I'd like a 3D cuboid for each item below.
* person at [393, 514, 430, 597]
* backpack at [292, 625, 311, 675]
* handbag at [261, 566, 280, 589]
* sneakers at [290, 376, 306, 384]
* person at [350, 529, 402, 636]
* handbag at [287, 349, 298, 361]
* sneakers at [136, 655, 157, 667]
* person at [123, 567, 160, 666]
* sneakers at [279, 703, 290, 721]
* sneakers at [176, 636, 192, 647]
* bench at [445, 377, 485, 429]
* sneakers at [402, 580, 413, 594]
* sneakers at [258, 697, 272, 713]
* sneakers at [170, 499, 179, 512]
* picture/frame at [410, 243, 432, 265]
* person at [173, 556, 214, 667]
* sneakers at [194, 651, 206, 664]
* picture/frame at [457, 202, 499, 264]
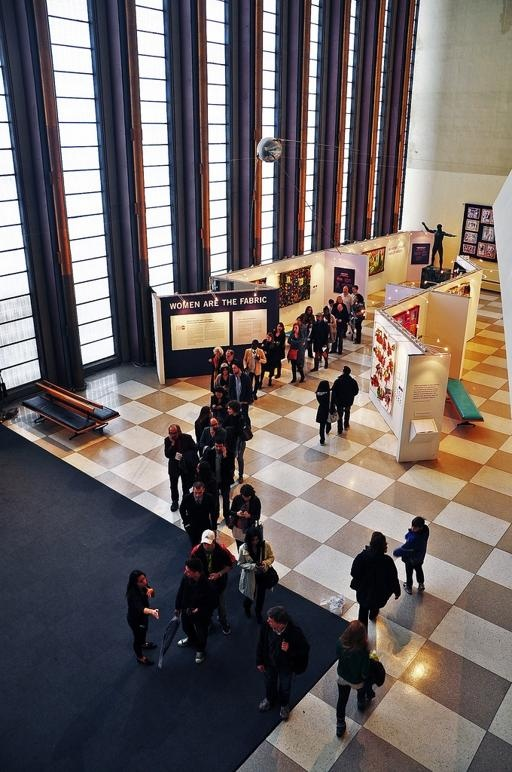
[{"bbox_3d":[1.687,1.774,5.255,0.407,1.014,0.301,-18,30,-19],"label":"person"},{"bbox_3d":[0.314,1.885,3.461,0.104,0.503,0.204,0,13,3],"label":"backpack"},{"bbox_3d":[0.131,1.757,4.555,0.160,0.237,0.233,-2,5,-1],"label":"handbag"},{"bbox_3d":[1.042,-0.166,11.873,0.405,0.186,0.139,1,29,9],"label":"sneakers"},{"bbox_3d":[1.127,1.800,4.604,0.456,1.113,0.380,6,26,9],"label":"person"},{"bbox_3d":[0.862,-0.787,11.605,0.277,0.300,0.207,16,19,40],"label":"handbag"},{"bbox_3d":[-1.010,2.490,4.489,0.167,0.085,0.066,8,28,16],"label":"sneakers"},{"bbox_3d":[-1.062,2.161,4.510,0.347,1.029,0.465,3,37,1],"label":"person"},{"bbox_3d":[0.223,2.544,3.814,0.062,0.049,0.120,-16,4,2],"label":"sneakers"},{"bbox_3d":[-0.698,2.443,4.717,0.171,0.083,0.078,3,16,-3],"label":"sneakers"},{"bbox_3d":[4.340,0.364,10.280,0.394,0.328,1.359,0,32,6],"label":"bench"},{"bbox_3d":[1.709,2.231,5.505,0.061,0.080,0.181,-2,26,-1],"label":"sneakers"},{"bbox_3d":[0.072,2.535,3.955,0.123,0.132,0.062,-4,9,-39],"label":"sneakers"},{"bbox_3d":[-1.181,1.735,7.085,0.068,0.129,0.186,1,8,5],"label":"sneakers"},{"bbox_3d":[6.647,-5.416,19.811,0.661,0.907,0.066,-10,27,-22],"label":"picture/frame"},{"bbox_3d":[-0.544,1.925,4.252,0.312,1.305,0.639,-4,14,-11],"label":"person"},{"bbox_3d":[-0.525,2.454,4.448,0.044,0.059,0.141,3,8,8],"label":"sneakers"},{"bbox_3d":[9.138,-6.276,19.998,0.547,2.347,1.562,-8,15,-26],"label":"picture/frame"}]
